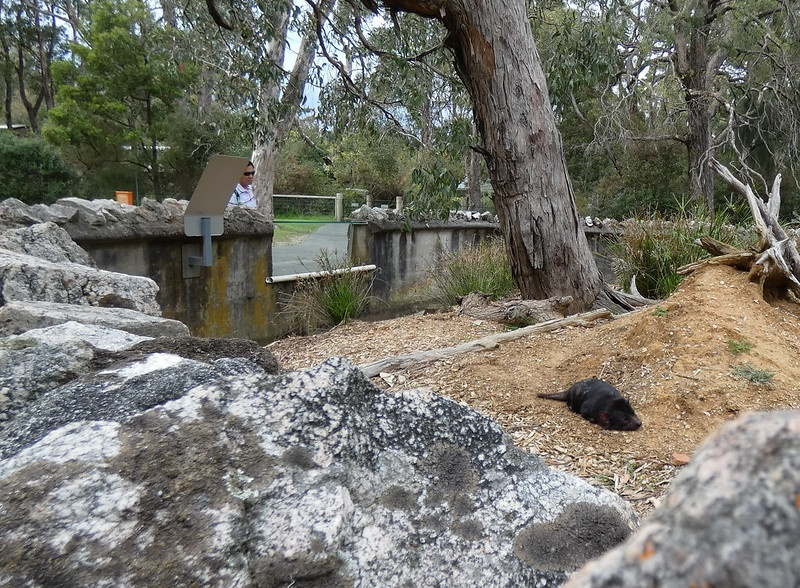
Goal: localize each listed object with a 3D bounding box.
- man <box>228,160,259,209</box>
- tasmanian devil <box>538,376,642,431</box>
[{"bbox_3d":[-2.114,-1.463,7.674,0.328,0.682,2.324,-4,7,-14],"label":"man"},{"bbox_3d":[1.202,0.699,3.637,0.188,0.260,0.657,-8,8,-38],"label":"tasmanian devil"}]
